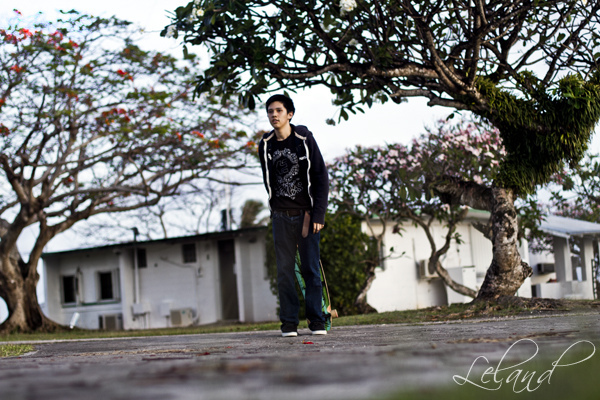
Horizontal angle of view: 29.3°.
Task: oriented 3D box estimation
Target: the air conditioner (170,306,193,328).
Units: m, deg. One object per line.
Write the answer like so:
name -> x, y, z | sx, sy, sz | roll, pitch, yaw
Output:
air conditioner -> -3.880, 3.785, 37.117 | 0.754, 0.707, 0.516 | -5, -10, 5

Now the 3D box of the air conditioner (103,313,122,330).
air conditioner -> -6.265, 4.049, 38.216 | 0.641, 0.747, 0.522 | -3, -13, 7

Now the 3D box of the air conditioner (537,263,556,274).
air conditioner -> 8.633, 2.436, 40.766 | 0.435, 0.477, 0.990 | -4, -11, -4

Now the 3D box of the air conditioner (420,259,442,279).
air conditioner -> 4.026, 2.179, 36.007 | 0.558, 0.604, 0.556 | 3, -12, -33

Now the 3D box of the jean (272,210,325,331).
jean -> -0.073, 1.627, 24.325 | 0.946, 3.203, 0.788 | 3, -45, -6
